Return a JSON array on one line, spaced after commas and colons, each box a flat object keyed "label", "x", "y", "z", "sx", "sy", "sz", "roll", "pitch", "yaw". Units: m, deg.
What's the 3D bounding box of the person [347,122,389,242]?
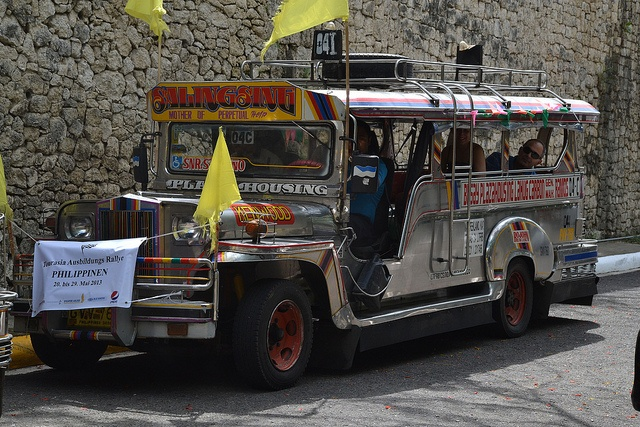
[{"label": "person", "x": 0.613, "y": -0.383, "z": 9.864, "sx": 0.371, "sy": 1.555, "sz": 0.949, "roll": 2, "pitch": 6, "yaw": 14}]
